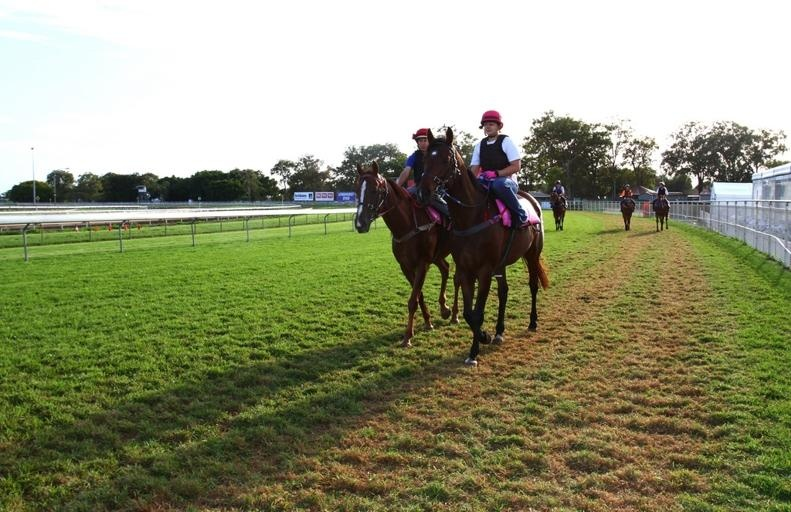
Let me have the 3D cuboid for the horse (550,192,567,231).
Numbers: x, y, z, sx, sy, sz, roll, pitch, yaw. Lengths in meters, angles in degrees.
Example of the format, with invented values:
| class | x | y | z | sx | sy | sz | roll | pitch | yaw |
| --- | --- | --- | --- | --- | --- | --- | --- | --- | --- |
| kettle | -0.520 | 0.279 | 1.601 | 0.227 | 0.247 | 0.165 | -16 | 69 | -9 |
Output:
| class | x | y | z | sx | sy | sz | roll | pitch | yaw |
| --- | --- | --- | --- | --- | --- | --- | --- | --- | --- |
| horse | 8.739 | -2.363 | 30.510 | 0.651 | 1.946 | 2.907 | -3 | -6 | 22 |

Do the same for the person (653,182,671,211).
| class | x | y | z | sx | sy | sz | roll | pitch | yaw |
| --- | --- | --- | --- | --- | --- | --- | --- | --- | --- |
| person | 13.914 | -3.210 | 29.668 | 0.665 | 1.333 | 2.748 | 3 | 10 | 24 |

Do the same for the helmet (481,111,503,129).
| class | x | y | z | sx | sy | sz | roll | pitch | yaw |
| --- | --- | --- | --- | --- | --- | --- | --- | --- | --- |
| helmet | 1.630 | -2.328 | 9.556 | 0.305 | 0.252 | 0.432 | 1 | 10 | 8 |

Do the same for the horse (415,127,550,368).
| class | x | y | z | sx | sy | sz | roll | pitch | yaw |
| --- | --- | --- | --- | --- | --- | --- | --- | --- | --- |
| horse | 1.646 | -0.272 | 9.938 | 1.227 | 3.782 | 3.389 | 4 | 10 | 27 |
